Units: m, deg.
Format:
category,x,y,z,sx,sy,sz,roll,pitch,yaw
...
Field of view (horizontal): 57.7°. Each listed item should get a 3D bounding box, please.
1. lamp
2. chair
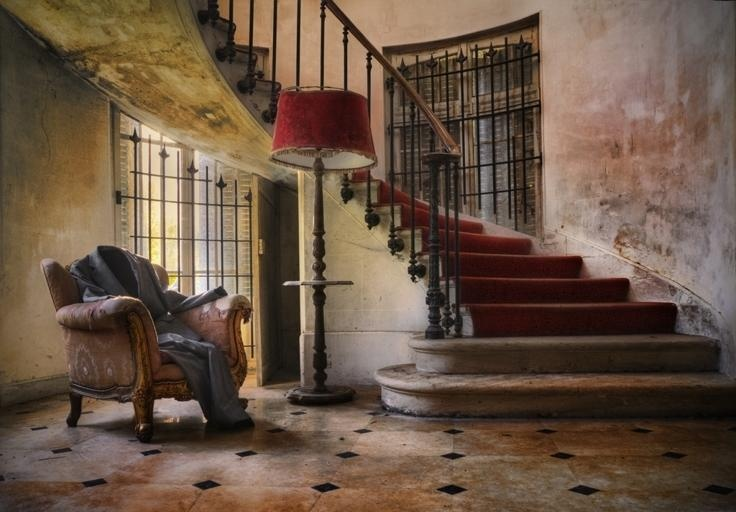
category,x,y,z,sx,sy,sz,roll,pitch,yaw
lamp,-0.325,-0.079,5.173,0.787,2.413,0.676,-3,9,-8
chair,-1.609,0.555,4.888,1.113,1.249,1.297,-5,-2,41
